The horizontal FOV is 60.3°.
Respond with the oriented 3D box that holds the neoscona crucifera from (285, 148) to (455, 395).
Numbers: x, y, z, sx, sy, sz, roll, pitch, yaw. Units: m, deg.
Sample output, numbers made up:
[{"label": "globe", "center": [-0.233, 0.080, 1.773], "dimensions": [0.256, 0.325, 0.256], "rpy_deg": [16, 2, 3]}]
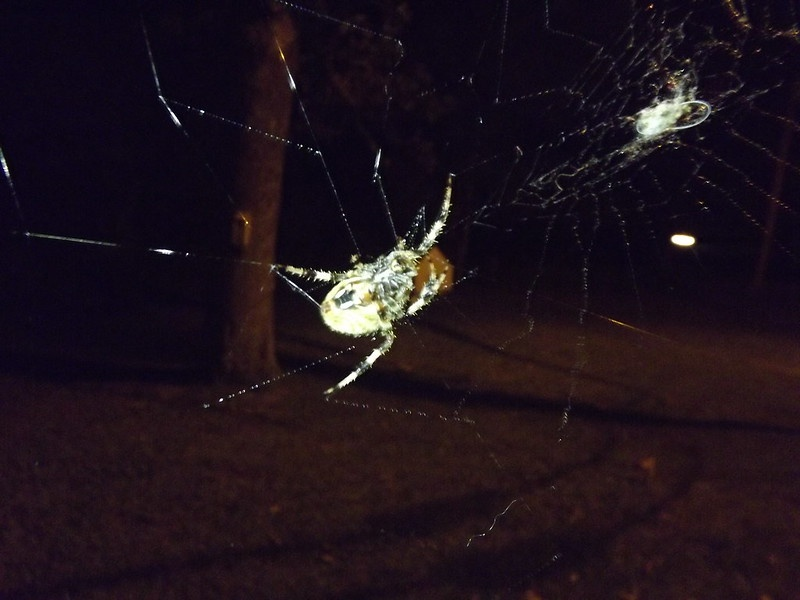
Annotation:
[{"label": "neoscona crucifera", "center": [-0.202, -0.223, 5.153], "dimensions": [0.892, 1.664, 0.951], "rpy_deg": [4, 19, -39]}]
